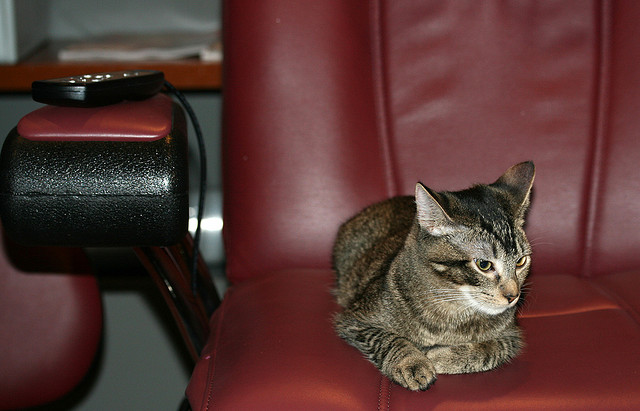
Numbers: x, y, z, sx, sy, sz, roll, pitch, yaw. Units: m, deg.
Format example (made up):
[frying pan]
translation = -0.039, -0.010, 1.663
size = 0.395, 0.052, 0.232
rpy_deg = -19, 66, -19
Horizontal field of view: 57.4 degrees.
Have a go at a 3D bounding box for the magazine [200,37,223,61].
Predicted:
[magazine]
translation = -0.321, -0.463, 1.720
size = 0.067, 0.056, 0.198
rpy_deg = -8, 27, -9

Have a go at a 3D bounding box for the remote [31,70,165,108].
[remote]
translation = -0.439, -0.228, 1.151
size = 0.110, 0.052, 0.221
rpy_deg = 8, 14, 40
